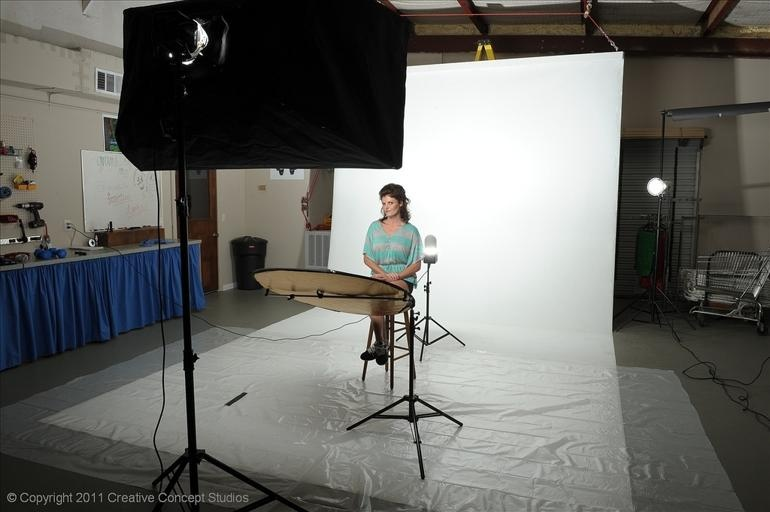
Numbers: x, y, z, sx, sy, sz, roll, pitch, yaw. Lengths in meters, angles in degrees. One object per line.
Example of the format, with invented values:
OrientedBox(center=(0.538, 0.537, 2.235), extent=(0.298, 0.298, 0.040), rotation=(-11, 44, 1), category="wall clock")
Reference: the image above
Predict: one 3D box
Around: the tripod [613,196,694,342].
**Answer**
OrientedBox(center=(3.916, -0.020, 7.855), extent=(0.859, 1.751, 1.988), rotation=(5, 8, 29), category="tripod")

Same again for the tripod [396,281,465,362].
OrientedBox(center=(0.525, 0.623, 6.558), extent=(0.694, 0.997, 0.648), rotation=(3, -21, -4), category="tripod")

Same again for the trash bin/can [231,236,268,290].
OrientedBox(center=(-2.334, 0.117, 9.414), extent=(0.625, 0.854, 0.616), rotation=(-1, 0, 24), category="trash bin/can")

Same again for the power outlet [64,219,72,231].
OrientedBox(center=(-4.011, -0.388, 6.844), extent=(0.027, 0.125, 0.113), rotation=(3, 7, 14), category="power outlet")

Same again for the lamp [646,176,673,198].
OrientedBox(center=(3.625, -0.902, 7.163), extent=(0.201, 0.247, 0.366), rotation=(6, 8, 32), category="lamp")

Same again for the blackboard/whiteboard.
OrientedBox(center=(-3.382, -0.798, 6.798), extent=(0.079, 1.202, 1.253), rotation=(3, 6, 32), category="blackboard/whiteboard")

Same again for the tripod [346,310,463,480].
OrientedBox(center=(0.263, 1.075, 4.744), extent=(0.844, 1.072, 1.151), rotation=(6, 8, 32), category="tripod")

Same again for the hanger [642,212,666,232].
OrientedBox(center=(4.086, -0.512, 8.212), extent=(0.478, 0.299, 0.299), rotation=(1, 4, 28), category="hanger")
